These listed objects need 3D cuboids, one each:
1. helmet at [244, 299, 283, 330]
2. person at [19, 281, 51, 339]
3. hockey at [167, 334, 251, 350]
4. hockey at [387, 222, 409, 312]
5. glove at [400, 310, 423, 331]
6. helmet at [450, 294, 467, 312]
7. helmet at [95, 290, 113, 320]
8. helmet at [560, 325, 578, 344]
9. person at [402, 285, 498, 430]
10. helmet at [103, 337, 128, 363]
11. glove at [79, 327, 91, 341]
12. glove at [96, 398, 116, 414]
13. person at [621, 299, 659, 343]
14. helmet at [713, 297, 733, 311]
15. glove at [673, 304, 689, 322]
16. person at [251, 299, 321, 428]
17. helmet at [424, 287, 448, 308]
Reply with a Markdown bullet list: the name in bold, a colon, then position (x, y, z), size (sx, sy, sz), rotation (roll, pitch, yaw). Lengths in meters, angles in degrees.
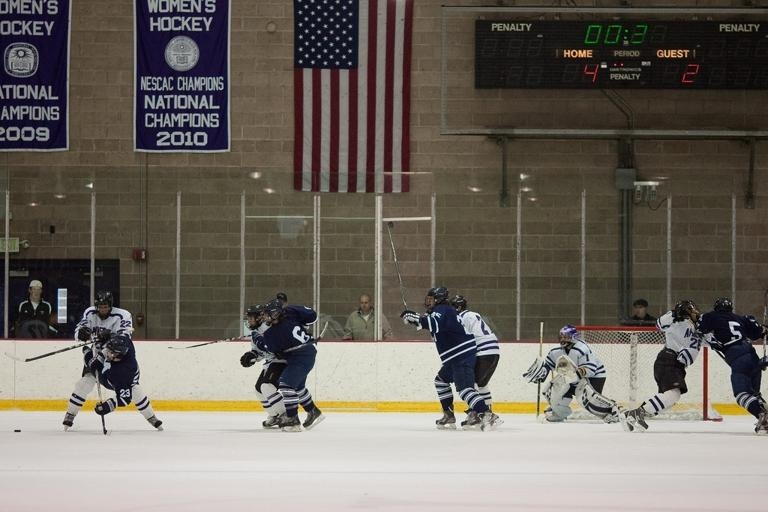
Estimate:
- **helmet**: position (-1.728, 0.802, 23.787), size (0.467, 0.512, 0.391), rotation (-10, 0, -1)
- **person**: position (-5.471, 0.788, 25.908), size (0.537, 0.883, 0.134), rotation (0, -3, -10)
- **hockey**: position (-2.674, 1.299, 25.677), size (1.599, 0.061, 0.176), rotation (-3, -16, 11)
- **hockey**: position (0.190, 0.092, 25.756), size (0.306, 1.307, 0.136), rotation (1, -4, -23)
- **glove**: position (0.378, 0.867, 23.548), size (0.271, 0.225, 0.390), rotation (-3, -5, 37)
- **helmet**: position (1.110, 0.666, 24.666), size (0.236, 0.244, 0.196), rotation (19, 19, 16)
- **helmet**: position (-3.995, 0.652, 23.576), size (0.251, 0.352, 0.346), rotation (0, -4, -8)
- **helmet**: position (2.739, 1.114, 24.411), size (0.244, 0.247, 0.395), rotation (-1, -4, 7)
- **person**: position (0.977, 1.427, 23.903), size (1.214, 2.019, 0.967), rotation (0, -3, -2)
- **helmet**: position (-3.789, 1.280, 23.438), size (0.268, 0.347, 0.354), rotation (4, -4, 14)
- **glove**: position (-4.278, 1.077, 23.588), size (0.182, 0.191, 0.123), rotation (0, -4, -7)
- **glove**: position (-3.936, 2.092, 23.375), size (0.272, 0.239, 0.327), rotation (0, -4, 1)
- **person**: position (4.021, 1.075, 25.860), size (0.530, 0.918, 0.704), rotation (-4, 10, 13)
- **helmet**: position (4.944, 0.705, 24.057), size (0.227, 0.253, 0.269), rotation (5, 20, 9)
- **glove**: position (4.291, 0.793, 23.906), size (0.182, 0.248, 0.245), rotation (-6, 1, -19)
- **person**: position (-1.371, 1.538, 23.744), size (0.941, 1.838, 0.432), rotation (1, -4, -18)
- **helmet**: position (0.757, 0.581, 24.168), size (0.324, 0.315, 0.257), rotation (2, 0, 7)
